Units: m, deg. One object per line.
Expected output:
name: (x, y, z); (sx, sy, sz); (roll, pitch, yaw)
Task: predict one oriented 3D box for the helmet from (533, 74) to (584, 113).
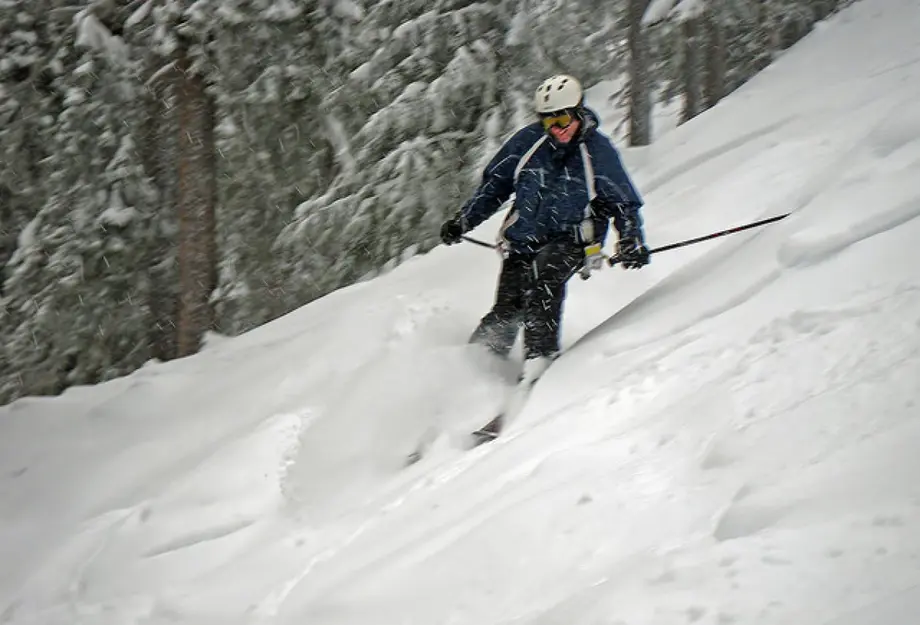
helmet: (0.877, -2.094, 9.667); (0.451, 0.321, 0.332); (-38, 36, -24)
